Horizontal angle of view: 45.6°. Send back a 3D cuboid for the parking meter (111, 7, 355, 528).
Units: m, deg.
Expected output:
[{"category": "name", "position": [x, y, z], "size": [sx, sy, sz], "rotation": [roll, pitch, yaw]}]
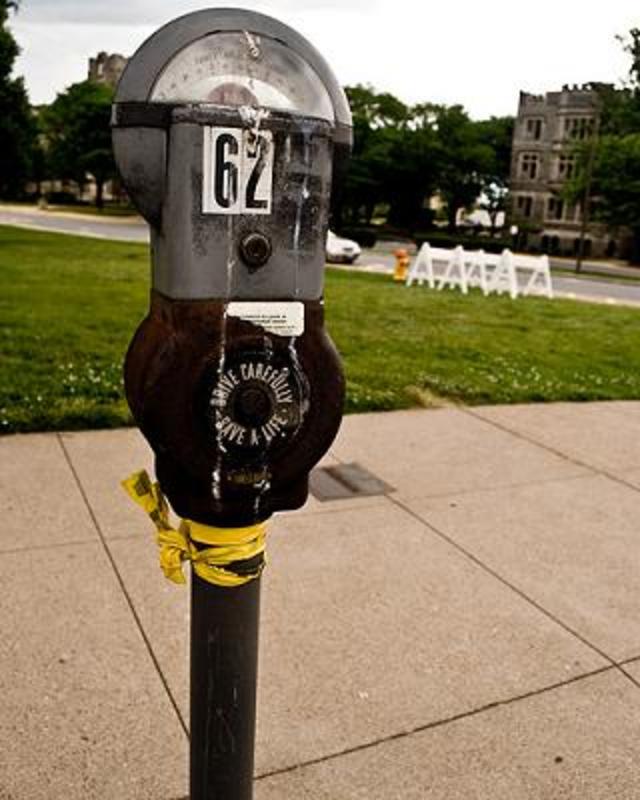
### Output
[{"category": "parking meter", "position": [-0.145, -0.216, 1.349], "size": [0.427, 0.872, 0.246], "rotation": [-1, 14, -16]}]
